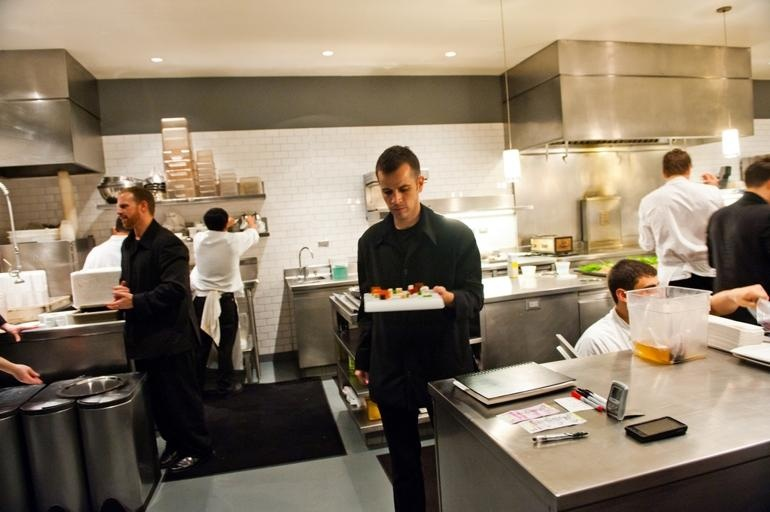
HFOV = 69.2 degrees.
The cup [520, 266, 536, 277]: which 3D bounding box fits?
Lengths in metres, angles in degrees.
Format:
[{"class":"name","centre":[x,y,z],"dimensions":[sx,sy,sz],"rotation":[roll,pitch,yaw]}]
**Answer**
[{"class":"cup","centre":[1.592,0.156,6.202],"dimensions":[0.131,0.119,0.172],"rotation":[-3,3,6]}]

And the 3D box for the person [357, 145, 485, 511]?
[{"class":"person","centre":[0.216,0.522,3.938],"dimensions":[0.963,2.584,0.435],"rotation":[-4,3,5]}]

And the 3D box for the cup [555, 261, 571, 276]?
[{"class":"cup","centre":[1.981,0.128,6.221],"dimensions":[0.146,0.152,0.241],"rotation":[-3,3,13]}]

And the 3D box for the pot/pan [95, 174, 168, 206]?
[{"class":"pot/pan","centre":[-3.068,-0.851,6.761],"dimensions":[0.707,0.258,0.627],"rotation":[-2,2,-33]}]

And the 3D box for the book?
[{"class":"book","centre":[0.807,0.781,3.460],"dimensions":[0.419,0.073,0.323],"rotation":[-8,11,-21]}]

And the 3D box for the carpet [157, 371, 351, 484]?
[{"class":"carpet","centre":[-1.149,1.661,5.939],"dimensions":[1.504,0.018,1.488],"rotation":[-4,24,-15]}]

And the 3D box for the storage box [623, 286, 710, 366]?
[{"class":"storage box","centre":[1.822,0.401,3.722],"dimensions":[0.554,0.456,0.520],"rotation":[-4,6,-28]}]

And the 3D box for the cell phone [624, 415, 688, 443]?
[{"class":"cell phone","centre":[1.522,0.965,3.125],"dimensions":[0.264,0.052,0.141],"rotation":[-6,9,-11]}]

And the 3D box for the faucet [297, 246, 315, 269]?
[{"class":"faucet","centre":[-1.082,-0.008,7.620],"dimensions":[0.218,0.282,0.099],"rotation":[-4,3,-9]}]

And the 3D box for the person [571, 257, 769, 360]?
[{"class":"person","centre":[1.918,0.392,4.081],"dimensions":[1.327,0.533,0.750],"rotation":[-13,11,0]}]

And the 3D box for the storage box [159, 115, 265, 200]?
[{"class":"storage box","centre":[-2.266,-1.263,7.112],"dimensions":[1.368,0.964,0.535],"rotation":[-2,3,-10]}]

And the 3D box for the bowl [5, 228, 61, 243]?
[{"class":"bowl","centre":[-4.106,-0.250,6.560],"dimensions":[0.465,0.141,0.284],"rotation":[-4,3,-11]}]
